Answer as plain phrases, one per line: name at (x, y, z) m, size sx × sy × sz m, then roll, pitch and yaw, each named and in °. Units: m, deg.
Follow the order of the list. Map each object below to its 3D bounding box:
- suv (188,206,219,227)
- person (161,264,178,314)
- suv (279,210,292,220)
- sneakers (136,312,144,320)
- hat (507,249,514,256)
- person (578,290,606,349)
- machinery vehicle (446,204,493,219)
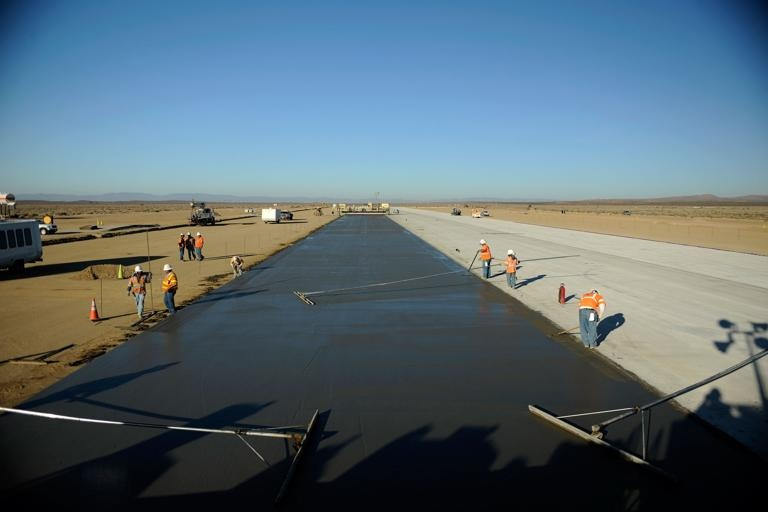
suv at (-29.220, -6.091, 69.433) m, size 2.758 × 2.116 × 4.182 m, roll 2°, pitch 7°, yaw 3°
person at (-9.845, 1.591, 20.134) m, size 0.918 × 2.636 × 1.182 m, roll 3°, pitch 26°, yaw -25°
suv at (-21.400, -8.632, 95.487) m, size 1.871 × 1.441 × 2.847 m, roll -1°, pitch -1°, yaw -15°
sneakers at (-10.401, 2.535, 18.763) m, size 0.199 × 0.318 × 0.263 m, roll -13°, pitch 22°, yaw -34°
hat at (8.200, -0.228, 28.881) m, size 0.648 × 0.291 × 0.882 m, roll -3°, pitch -2°, yaw 16°
person at (7.211, 2.148, 15.427) m, size 0.723 × 1.960 × 1.229 m, roll 1°, pitch 8°, yaw 26°
machinery vehicle at (27.323, -14.138, 140.311) m, size 8.986 × 1.834 × 69.969 m, roll -1°, pitch 7°, yaw 10°
